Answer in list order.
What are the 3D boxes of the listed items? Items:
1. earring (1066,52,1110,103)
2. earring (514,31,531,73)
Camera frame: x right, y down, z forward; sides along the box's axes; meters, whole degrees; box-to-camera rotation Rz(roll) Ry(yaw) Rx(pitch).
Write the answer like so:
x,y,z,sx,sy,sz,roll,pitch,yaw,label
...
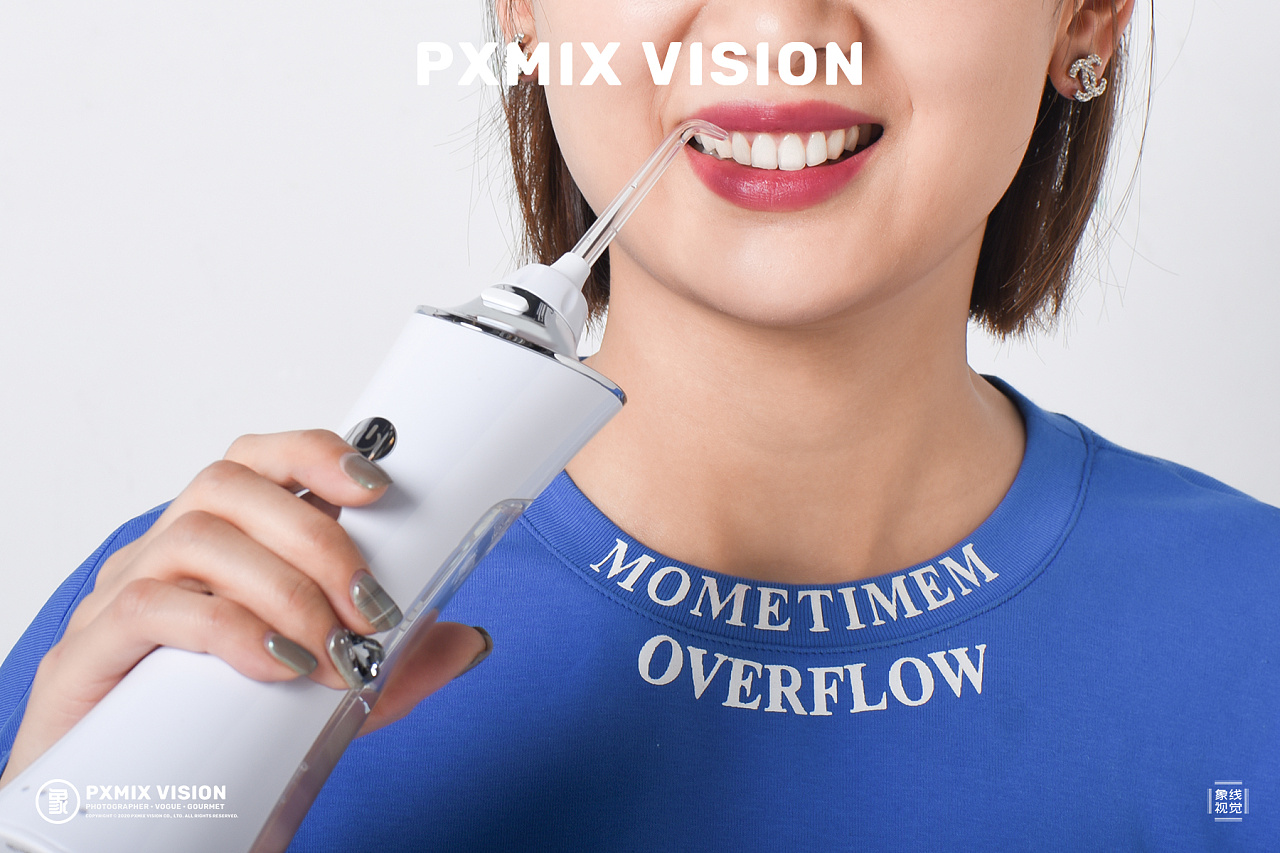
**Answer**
x,y,z,sx,sy,sz,roll,pitch,yaw,label
0.359,-0.290,1.064,0.033,0.036,0.005,-5,25,-4,earring
-0.101,-0.321,1.086,0.004,0.016,0.016,-13,36,-41,earring
